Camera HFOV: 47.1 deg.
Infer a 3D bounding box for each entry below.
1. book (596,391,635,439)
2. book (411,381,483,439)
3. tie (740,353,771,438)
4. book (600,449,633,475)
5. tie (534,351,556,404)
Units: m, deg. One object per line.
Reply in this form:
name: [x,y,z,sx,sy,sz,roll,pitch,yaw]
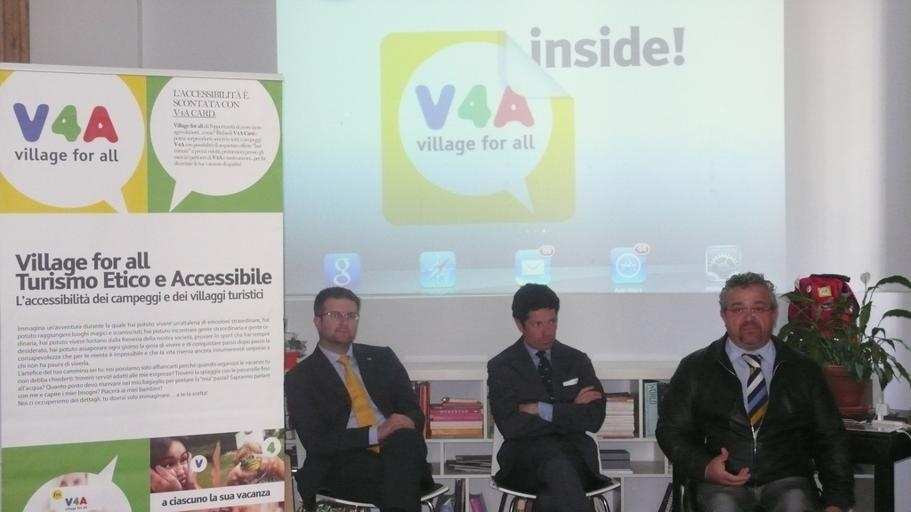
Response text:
book: [1.224,1.248,8.038,0.392,0.176,0.520,0,-2,5]
book: [-0.063,1.210,8.162,0.506,0.174,0.392,-1,6,-7]
tie: [2.078,0.950,7.246,0.168,0.567,0.071,-2,-6,41]
book: [1.242,1.603,8.155,0.193,0.119,0.200,-2,-1,3]
tie: [0.668,0.920,7.822,0.085,0.406,0.107,-10,-14,5]
